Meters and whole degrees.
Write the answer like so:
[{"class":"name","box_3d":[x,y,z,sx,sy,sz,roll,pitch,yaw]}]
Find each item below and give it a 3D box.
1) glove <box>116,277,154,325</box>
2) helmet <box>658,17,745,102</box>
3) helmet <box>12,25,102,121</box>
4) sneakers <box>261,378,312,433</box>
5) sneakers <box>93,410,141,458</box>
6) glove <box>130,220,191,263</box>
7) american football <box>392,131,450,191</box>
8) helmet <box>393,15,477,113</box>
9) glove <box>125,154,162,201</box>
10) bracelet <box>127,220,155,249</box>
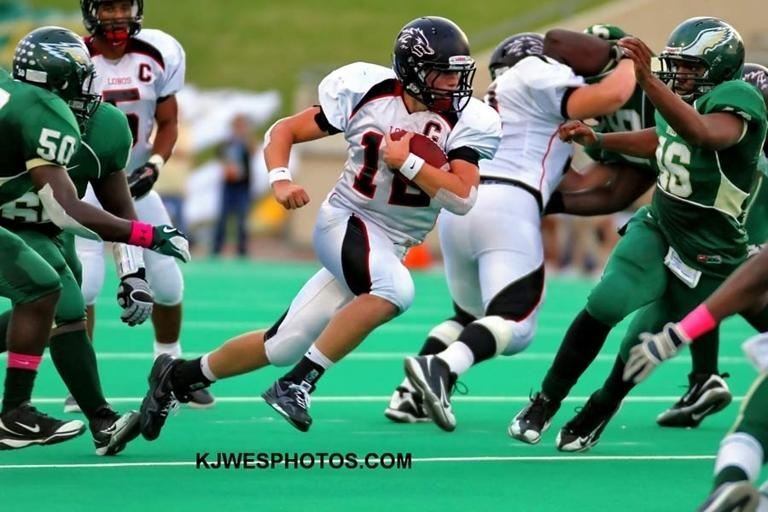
[{"class":"glove","box_3d":[-1.355,0.233,4.378,0.196,0.264,0.123,16,-32,-33]},{"class":"helmet","box_3d":[1.615,-1.048,4.307,0.455,0.386,0.378,-3,1,-15]},{"class":"helmet","box_3d":[-1.600,-0.903,4.004,0.357,0.455,0.455,12,6,30]},{"class":"sneakers","box_3d":[-0.468,0.721,3.951,0.277,0.234,0.147,15,17,23]},{"class":"sneakers","box_3d":[-1.313,0.867,3.945,0.172,0.234,0.082,54,12,25]},{"class":"glove","box_3d":[-1.072,-0.071,3.911,0.285,0.111,0.171,18,30,-34]},{"class":"american football","box_3d":[0.188,-0.469,3.986,0.214,0.076,0.293,45,14,30]},{"class":"helmet","box_3d":[0.223,-0.968,4.105,0.381,0.400,0.485,-18,47,-35]},{"class":"glove","box_3d":[-1.480,-0.496,4.991,0.174,0.102,0.257,16,43,-17]},{"class":"bracelet","box_3d":[-1.151,-0.101,3.899,0.103,0.110,0.125,59,-8,14]}]
